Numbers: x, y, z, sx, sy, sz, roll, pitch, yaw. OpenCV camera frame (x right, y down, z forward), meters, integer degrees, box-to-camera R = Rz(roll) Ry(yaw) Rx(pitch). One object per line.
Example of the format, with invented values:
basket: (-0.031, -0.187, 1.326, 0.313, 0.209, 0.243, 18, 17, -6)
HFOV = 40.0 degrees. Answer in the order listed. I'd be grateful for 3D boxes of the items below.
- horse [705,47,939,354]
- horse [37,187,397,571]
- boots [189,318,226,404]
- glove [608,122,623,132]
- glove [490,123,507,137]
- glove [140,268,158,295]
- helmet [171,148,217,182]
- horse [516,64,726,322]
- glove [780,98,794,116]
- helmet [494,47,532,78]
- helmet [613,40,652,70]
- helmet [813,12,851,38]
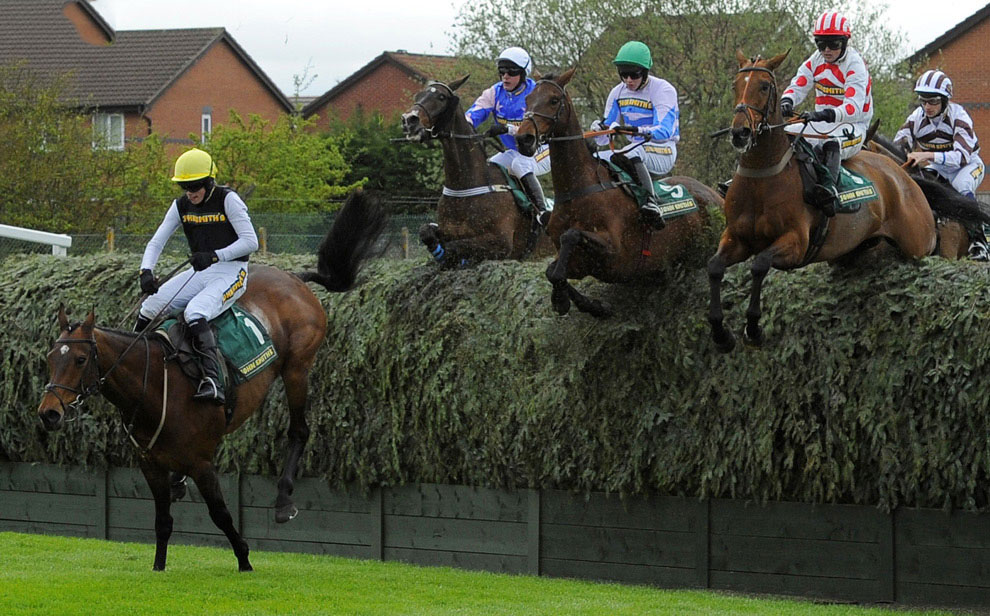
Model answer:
horse: (3.907, -1.217, 15.786, 1.457, 3.225, 4.950, 10, 10, 42)
horse: (-3.148, 0.938, 15.336, 1.404, 3.694, 4.050, 5, 10, 32)
boots: (-3.166, 0.578, 14.788, 0.371, 0.875, 0.641, -2, 9, -13)
glove: (1.344, -2.027, 15.349, 0.169, 0.145, 0.049, -6, 47, -13)
glove: (0.015, -2.040, 15.660, 0.183, 0.129, 0.573, -1, 9, -5)
glove: (-3.932, -0.307, 15.138, 0.133, 0.288, 0.220, -12, -18, 5)
helmet: (-3.326, -1.592, 15.146, 0.352, 0.252, 0.446, -1, 8, 9)
horse: (1.621, -1.203, 16.083, 1.162, 2.796, 4.121, 3, 0, 44)
glove: (3.160, -2.168, 14.702, 0.159, 0.198, 0.076, -5, 3, 24)
helmet: (0.237, -2.987, 16.559, 0.318, 0.303, 0.419, 14, 22, 18)
helmet: (1.604, -2.881, 15.778, 0.428, 0.389, 0.509, 3, 16, 15)
helmet: (3.682, -3.088, 14.855, 0.381, 0.268, 0.310, 1, 9, 9)
